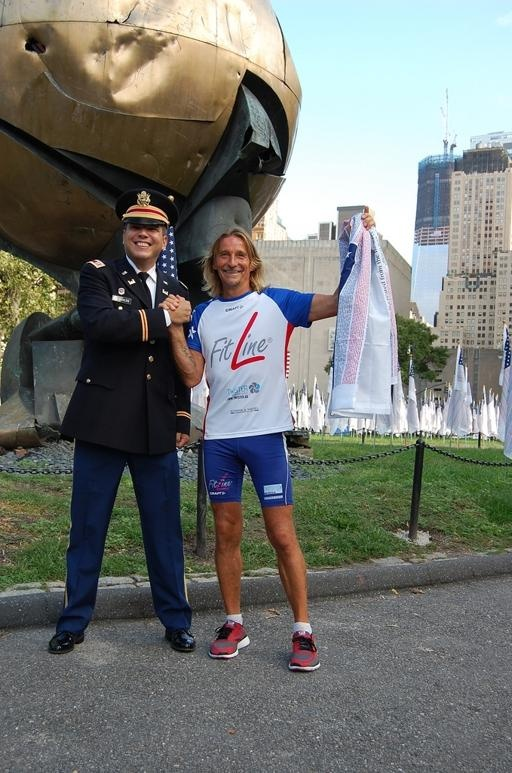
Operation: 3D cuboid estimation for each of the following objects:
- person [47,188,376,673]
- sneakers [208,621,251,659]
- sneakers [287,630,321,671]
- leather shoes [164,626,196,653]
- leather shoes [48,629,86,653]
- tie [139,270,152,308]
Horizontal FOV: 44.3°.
[{"bbox_3d":[-0.262,0.169,3.119,1.295,2.237,0.525,3,-2,6],"label":"person"},{"bbox_3d":[-0.142,1.209,3.005,0.158,0.093,0.184,3,-2,0],"label":"sneakers"},{"bbox_3d":[0.225,1.201,2.872,0.135,0.160,0.197,3,-2,7],"label":"sneakers"},{"bbox_3d":[-0.374,1.238,3.093,0.068,0.063,0.158,5,-9,-30],"label":"leather shoes"},{"bbox_3d":[-0.891,1.207,2.970,0.073,0.074,0.171,-2,-13,16],"label":"leather shoes"},{"bbox_3d":[-0.574,-0.504,3.245,0.050,0.214,0.058,-11,-27,-4],"label":"tie"}]
